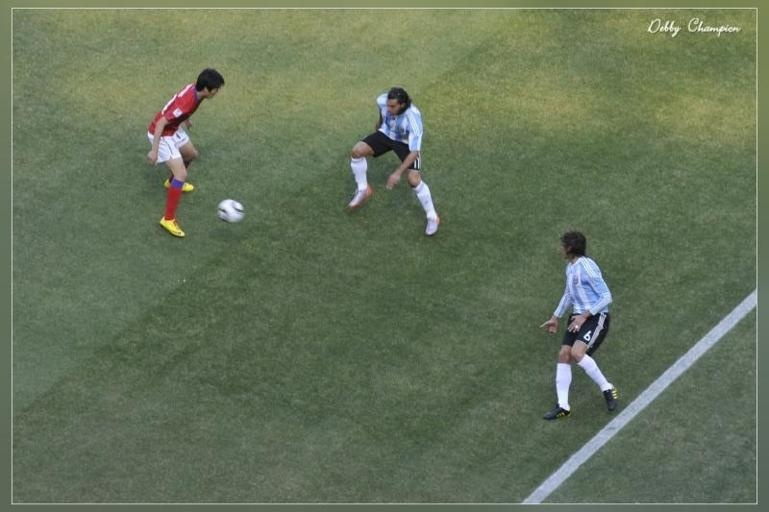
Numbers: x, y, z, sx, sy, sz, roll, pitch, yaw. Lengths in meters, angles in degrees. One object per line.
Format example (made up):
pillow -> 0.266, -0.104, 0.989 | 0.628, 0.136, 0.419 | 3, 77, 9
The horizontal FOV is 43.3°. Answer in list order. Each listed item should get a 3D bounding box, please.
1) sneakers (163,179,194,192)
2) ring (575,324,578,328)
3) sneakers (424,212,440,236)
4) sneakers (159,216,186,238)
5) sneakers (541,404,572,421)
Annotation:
sneakers -> -3.178, -1.064, 14.908 | 0.531, 0.228, 0.186 | 6, 77, -16
ring -> 2.706, 0.982, 13.651 | 0.036, 0.051, 0.015 | 1, 66, 4
sneakers -> 0.736, -0.480, 14.778 | 0.147, 0.360, 0.170 | 17, 17, 28
sneakers -> -3.217, -0.421, 14.733 | 0.465, 0.201, 0.207 | 33, 62, -2
sneakers -> 2.501, 2.274, 14.036 | 0.449, 0.200, 0.171 | -7, 52, 15
